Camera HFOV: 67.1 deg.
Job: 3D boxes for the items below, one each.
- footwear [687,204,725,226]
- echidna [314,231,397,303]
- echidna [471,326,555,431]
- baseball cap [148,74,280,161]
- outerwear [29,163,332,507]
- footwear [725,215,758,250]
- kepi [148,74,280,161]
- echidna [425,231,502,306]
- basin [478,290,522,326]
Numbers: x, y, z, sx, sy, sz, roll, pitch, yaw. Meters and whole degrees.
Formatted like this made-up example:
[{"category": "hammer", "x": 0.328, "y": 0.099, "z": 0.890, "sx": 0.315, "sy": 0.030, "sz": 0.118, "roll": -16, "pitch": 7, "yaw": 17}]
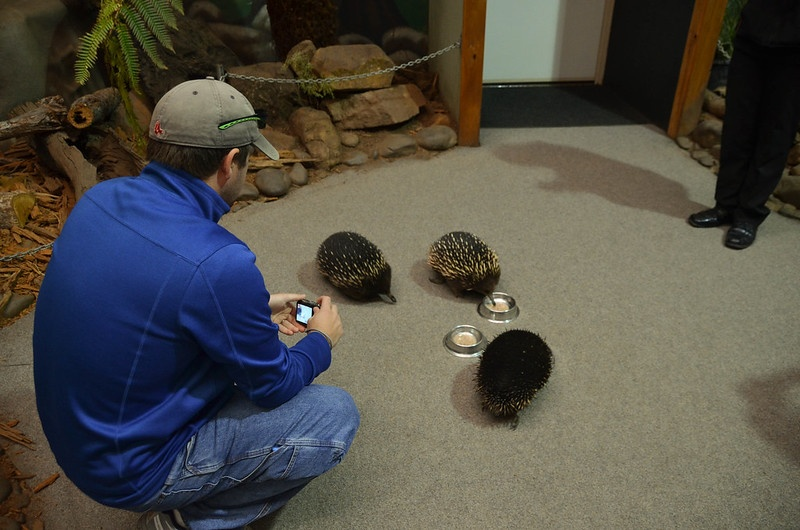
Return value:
[{"category": "footwear", "x": 2.622, "y": -0.429, "z": 5.137, "sx": 0.344, "sy": 0.145, "sz": 0.131, "roll": -2, "pitch": 30, "yaw": 3}, {"category": "echidna", "x": -0.332, "y": -0.008, "z": 4.408, "sx": 0.388, "sy": 0.337, "sz": 0.671, "roll": -41, "pitch": 72, "yaw": -15}, {"category": "echidna", "x": 0.698, "y": 0.646, "z": 3.756, "sx": 0.364, "sy": 0.315, "sz": 0.505, "roll": 33, "pitch": 63, "yaw": 31}, {"category": "baseball cap", "x": -0.938, "y": -0.731, "z": 2.967, "sx": 0.456, "sy": 0.272, "sz": 0.340, "roll": -8, "pitch": 30, "yaw": -35}, {"category": "outerwear", "x": -1.141, "y": 0.281, "z": 3.411, "sx": 1.618, "sy": 1.660, "sz": 1.452, "roll": -3, "pitch": 24, "yaw": -21}, {"category": "footwear", "x": 2.775, "y": -0.259, "z": 4.879, "sx": 0.148, "sy": 0.153, "sz": 0.417, "roll": 18, "pitch": 39, "yaw": 31}, {"category": "kepi", "x": -0.953, "y": -0.780, "z": 3.137, "sx": 0.666, "sy": 0.361, "sz": 0.494, "roll": -10, "pitch": 26, "yaw": -40}, {"category": "echidna", "x": 0.473, "y": -0.005, "z": 4.548, "sx": 0.383, "sy": 0.313, "sz": 0.582, "roll": -23, "pitch": 52, "yaw": -25}, {"category": "basin", "x": 0.718, "y": 0.316, "z": 4.439, "sx": 0.230, "sy": 0.058, "sz": 0.239, "roll": -2, "pitch": 42, "yaw": 2}]
